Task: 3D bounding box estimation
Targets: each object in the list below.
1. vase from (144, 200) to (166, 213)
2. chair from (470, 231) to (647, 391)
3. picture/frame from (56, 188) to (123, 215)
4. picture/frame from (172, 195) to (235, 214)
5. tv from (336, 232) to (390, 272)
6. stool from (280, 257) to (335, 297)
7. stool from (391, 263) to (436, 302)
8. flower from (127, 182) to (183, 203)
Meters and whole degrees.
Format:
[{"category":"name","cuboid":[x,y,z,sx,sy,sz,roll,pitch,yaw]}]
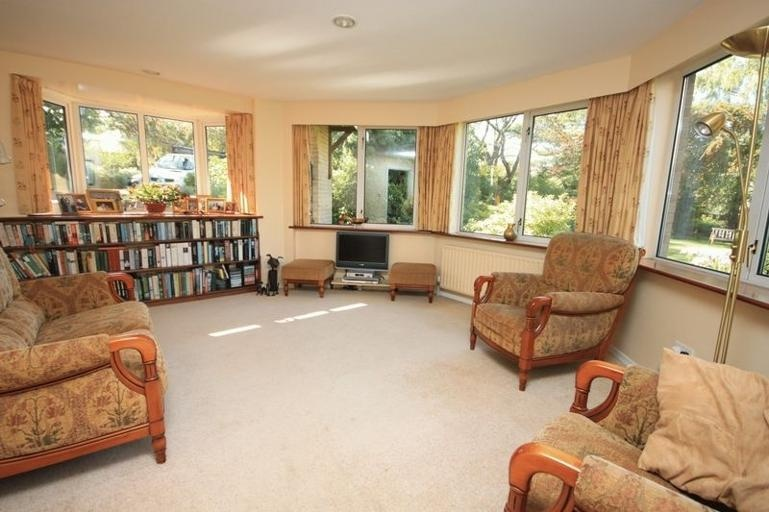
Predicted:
[{"category":"vase","cuboid":[-2.859,-0.611,6.058,0.173,0.080,0.169,2,4,14]},{"category":"chair","cuboid":[1.661,0.446,4.832,1.394,1.285,1.052,-2,11,-18]},{"category":"picture/frame","cuboid":[-3.505,-0.651,5.791,0.656,0.289,0.223,-6,13,-37]},{"category":"picture/frame","cuboid":[-2.398,-0.692,6.529,0.857,0.241,0.346,-4,11,-31]},{"category":"tv","cuboid":[-0.297,-0.077,6.803,0.571,0.397,0.059,2,5,5]},{"category":"stool","cuboid":[-1.061,0.291,6.813,0.668,0.457,0.675,2,10,0]},{"category":"stool","cuboid":[0.384,0.298,6.606,0.580,0.393,0.558,1,10,3]},{"category":"flower","cuboid":[-2.846,-0.788,6.177,0.432,0.201,0.397,3,11,-7]}]
